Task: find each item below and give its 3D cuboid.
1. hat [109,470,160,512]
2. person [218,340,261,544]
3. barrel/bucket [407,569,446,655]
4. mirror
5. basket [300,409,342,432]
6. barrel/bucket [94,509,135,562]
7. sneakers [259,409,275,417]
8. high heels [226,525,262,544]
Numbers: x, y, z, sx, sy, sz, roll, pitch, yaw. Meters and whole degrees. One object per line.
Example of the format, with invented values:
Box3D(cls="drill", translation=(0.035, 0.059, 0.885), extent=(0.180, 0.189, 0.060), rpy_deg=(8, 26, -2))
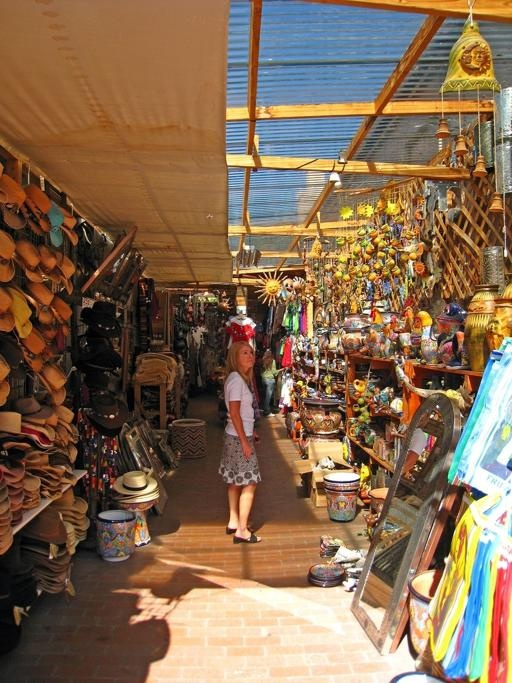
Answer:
Box3D(cls="hat", translation=(-0.991, 1.231, 4.032), extent=(0.356, 0.150, 0.354), rpy_deg=(18, 19, 26))
Box3D(cls="person", translation=(-0.140, 0.868, 4.213), extent=(0.341, 1.726, 0.504), rpy_deg=(0, -5, 7))
Box3D(cls="barrel/bucket", translation=(0.792, 1.327, 2.278), extent=(0.159, 0.424, 0.435), rpy_deg=(-1, -5, 17))
Box3D(cls="mirror", translation=(0.790, 0.949, 2.680), extent=(0.493, 1.301, 0.771), rpy_deg=(0, -5, 5))
Box3D(cls="basket", translation=(0.859, 1.054, 6.341), extent=(0.347, 0.205, 0.325), rpy_deg=(-3, -5, 24))
Box3D(cls="barrel/bucket", translation=(-1.039, 1.497, 3.844), extent=(0.334, 0.358, 0.325), rpy_deg=(0, 1, 0))
Box3D(cls="sneakers", translation=(0.285, 1.837, 12.364), extent=(0.158, 0.204, 0.482), rpy_deg=(1, -7, -30))
Box3D(cls="high heels", translation=(-0.110, 1.683, 4.212), extent=(0.311, 0.091, 0.113), rpy_deg=(0, 1, -14))
